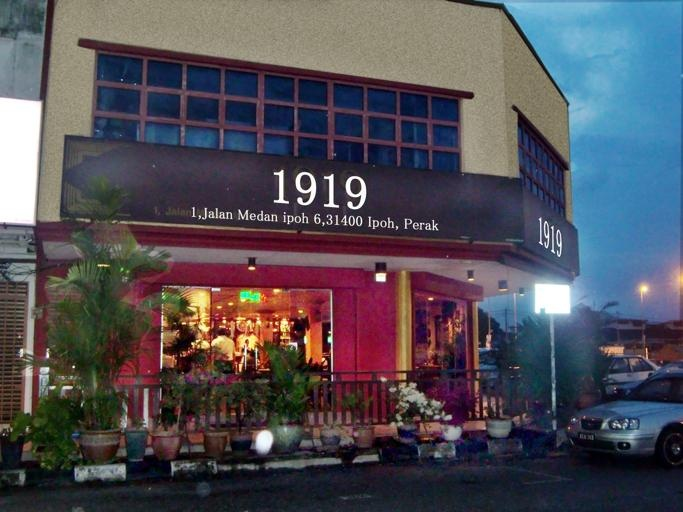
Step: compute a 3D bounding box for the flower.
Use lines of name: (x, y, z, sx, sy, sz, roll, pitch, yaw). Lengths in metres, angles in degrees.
flower: (2.084, 3.351, 17.128, 1.847, 1.042, 2.708, -4, -12, 18)

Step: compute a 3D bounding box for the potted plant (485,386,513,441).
potted plant: (3.584, 3.716, 16.667, 0.532, 0.790, 0.734, 0, -3, 23)
